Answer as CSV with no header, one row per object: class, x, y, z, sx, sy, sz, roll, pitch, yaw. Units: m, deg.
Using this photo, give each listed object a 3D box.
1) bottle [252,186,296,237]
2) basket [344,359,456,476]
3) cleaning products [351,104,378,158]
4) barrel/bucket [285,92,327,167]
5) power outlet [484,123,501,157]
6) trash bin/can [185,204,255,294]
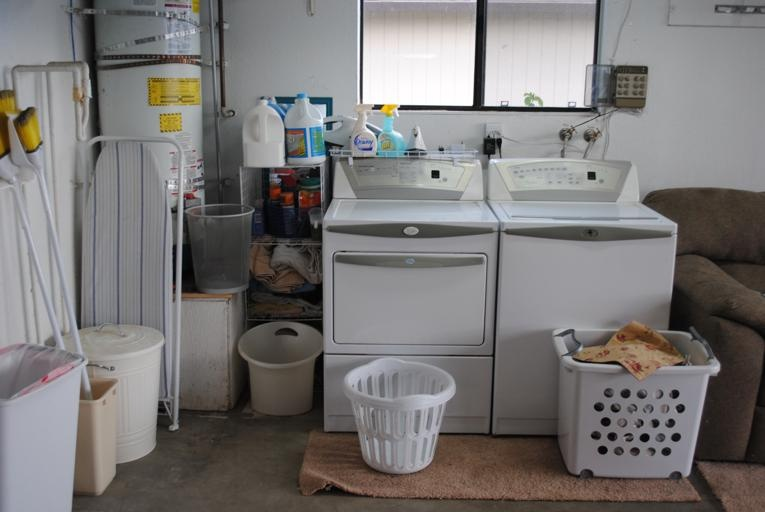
bottle,-0.582,-0.230,3.503,0.247,0.337,0.334,0,20,-4
basket,0.081,0.699,2.946,0.525,0.411,0.510,-3,20,-7
cleaning products,-0.112,-0.697,3.431,0.142,0.273,0.219,-3,17,-9
barrel/bucket,-0.425,-0.678,3.322,0.200,0.362,0.119,-3,17,-9
power outlet,0.660,-0.694,3.736,0.113,0.203,0.066,2,17,6
trash bin/can,-0.847,-0.018,3.290,0.318,0.412,0.176,-5,18,-17
